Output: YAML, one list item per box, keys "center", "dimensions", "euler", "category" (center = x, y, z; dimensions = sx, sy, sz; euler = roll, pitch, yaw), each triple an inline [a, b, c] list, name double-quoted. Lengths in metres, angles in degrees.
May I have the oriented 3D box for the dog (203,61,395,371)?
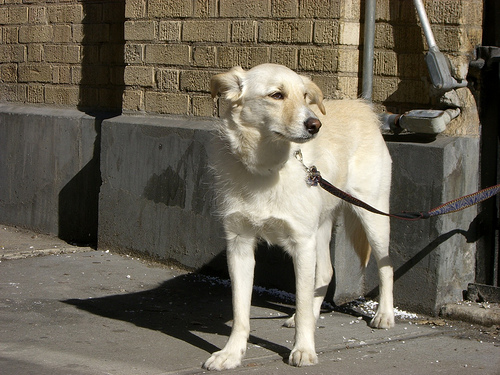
- center: [0.411, 0.146, 7.110]
  dimensions: [1.997, 2.384, 1.118]
  euler: [-13, 20, -42]
  category: "dog"

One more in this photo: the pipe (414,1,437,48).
- center: [1.624, -1.528, 7.697]
  dimensions: [0.077, 0.482, 0.073]
  euler: [-21, 1, 34]
  category: "pipe"
